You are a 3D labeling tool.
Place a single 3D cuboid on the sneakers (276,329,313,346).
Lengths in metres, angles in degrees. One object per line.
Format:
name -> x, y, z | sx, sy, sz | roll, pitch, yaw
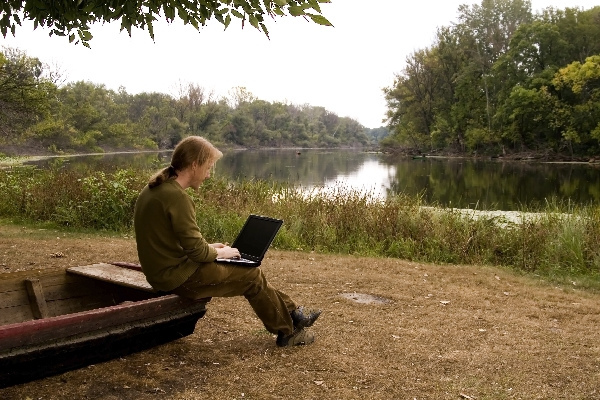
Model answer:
sneakers -> -0.045, 1.773, 6.366 | 0.478, 0.214, 0.183 | -4, 7, -13
